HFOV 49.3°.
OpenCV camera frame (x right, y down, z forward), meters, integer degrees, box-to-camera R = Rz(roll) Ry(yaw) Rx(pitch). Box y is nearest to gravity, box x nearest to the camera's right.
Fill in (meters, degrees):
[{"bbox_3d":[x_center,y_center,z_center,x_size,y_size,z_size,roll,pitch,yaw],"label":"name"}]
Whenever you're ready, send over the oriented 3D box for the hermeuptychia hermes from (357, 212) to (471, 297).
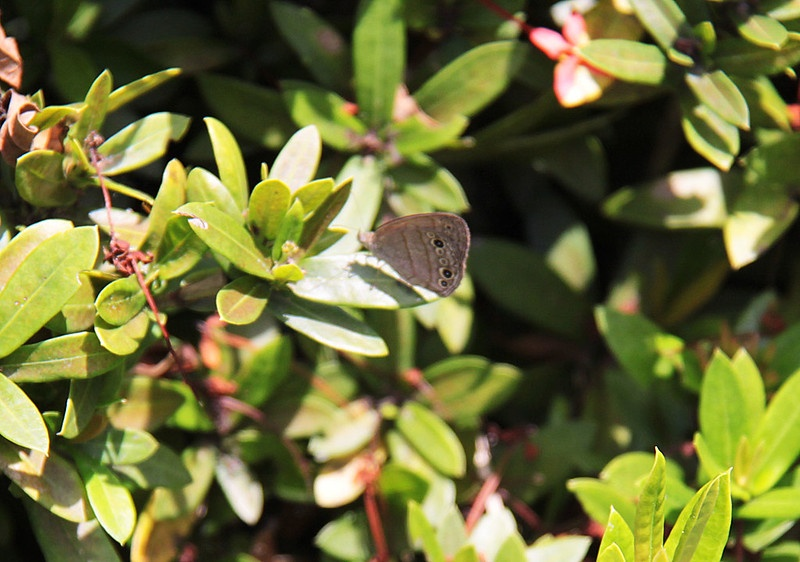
[{"bbox_3d":[0.026,-0.047,1.319,0.130,0.061,0.141,22,39,10],"label":"hermeuptychia hermes"}]
